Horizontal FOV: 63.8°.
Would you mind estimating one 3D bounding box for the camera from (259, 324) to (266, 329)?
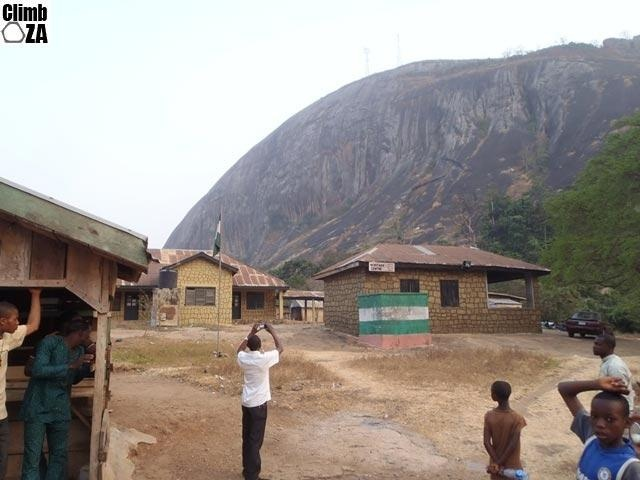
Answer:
[{"bbox_3d":[-0.877,1.321,7.867,0.078,0.086,0.060,0,2,-5],"label":"camera"}]

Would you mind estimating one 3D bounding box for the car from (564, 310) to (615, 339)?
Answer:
[{"bbox_3d":[12.305,3.847,23.736,1.659,1.266,3.283,-4,-13,22],"label":"car"}]
